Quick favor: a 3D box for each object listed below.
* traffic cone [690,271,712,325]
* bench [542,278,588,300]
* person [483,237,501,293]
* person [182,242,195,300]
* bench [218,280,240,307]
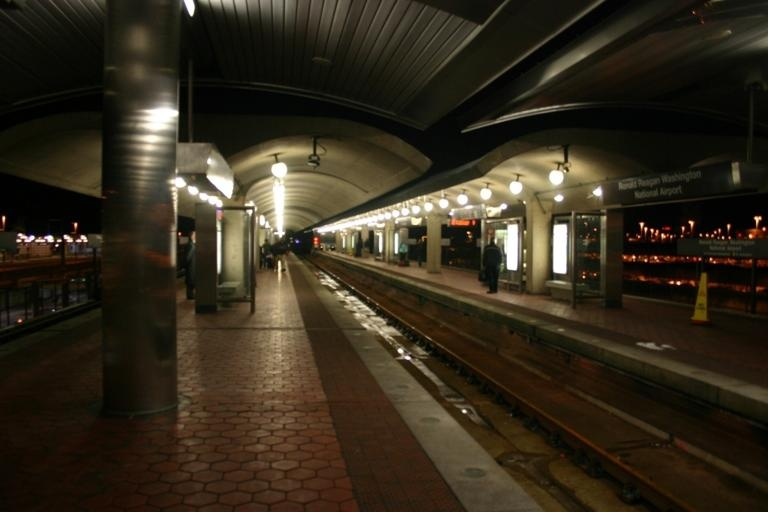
[{"bbox_3d":[7.587,1.000,13.300,0.247,1.207,0.330,-1,2,-34],"label":"traffic cone"},{"bbox_3d":[5.863,1.107,18.013,0.891,0.588,2.620,0,2,2],"label":"bench"},{"bbox_3d":[3.904,0.310,19.834,0.582,1.987,0.448,0,1,-12],"label":"person"},{"bbox_3d":[-5.919,0.434,16.845,0.489,1.998,0.864,-4,37,-23],"label":"person"},{"bbox_3d":[-4.507,1.109,16.104,0.556,0.678,1.383,0,2,-13],"label":"bench"}]
